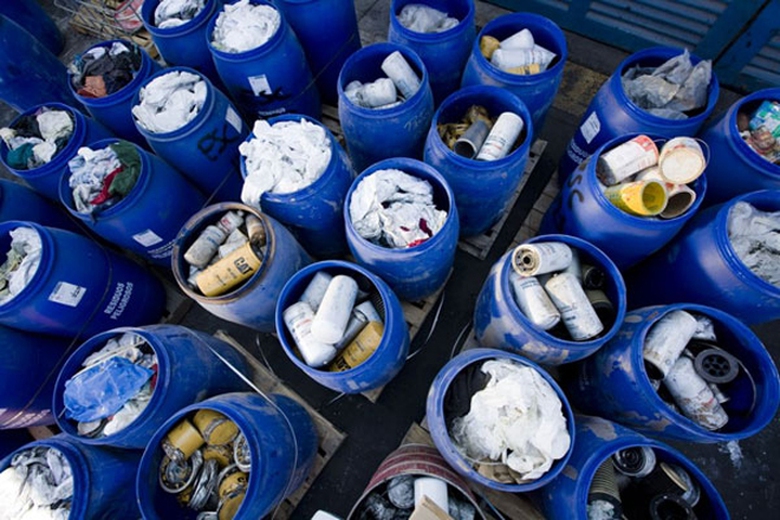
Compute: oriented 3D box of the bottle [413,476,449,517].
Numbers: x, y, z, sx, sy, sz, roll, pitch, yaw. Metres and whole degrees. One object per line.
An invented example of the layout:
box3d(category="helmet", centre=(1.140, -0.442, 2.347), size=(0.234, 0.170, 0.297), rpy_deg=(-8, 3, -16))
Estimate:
box3d(category="bottle", centre=(0.393, 2.260, 6.623), size=(0.278, 0.324, 0.358), rpy_deg=(-6, 44, 4))
